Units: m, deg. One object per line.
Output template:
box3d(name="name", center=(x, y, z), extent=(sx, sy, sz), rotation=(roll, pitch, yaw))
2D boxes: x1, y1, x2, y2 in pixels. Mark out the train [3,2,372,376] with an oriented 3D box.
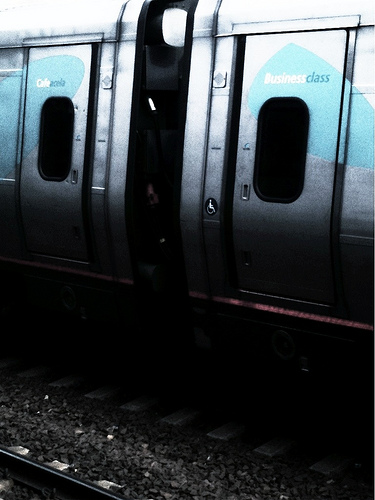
box3d(name="train", center=(-0.188, -0.836, 3.859), extent=(3.428, 3.199, 0.668), rotation=(3, 5, 34))
